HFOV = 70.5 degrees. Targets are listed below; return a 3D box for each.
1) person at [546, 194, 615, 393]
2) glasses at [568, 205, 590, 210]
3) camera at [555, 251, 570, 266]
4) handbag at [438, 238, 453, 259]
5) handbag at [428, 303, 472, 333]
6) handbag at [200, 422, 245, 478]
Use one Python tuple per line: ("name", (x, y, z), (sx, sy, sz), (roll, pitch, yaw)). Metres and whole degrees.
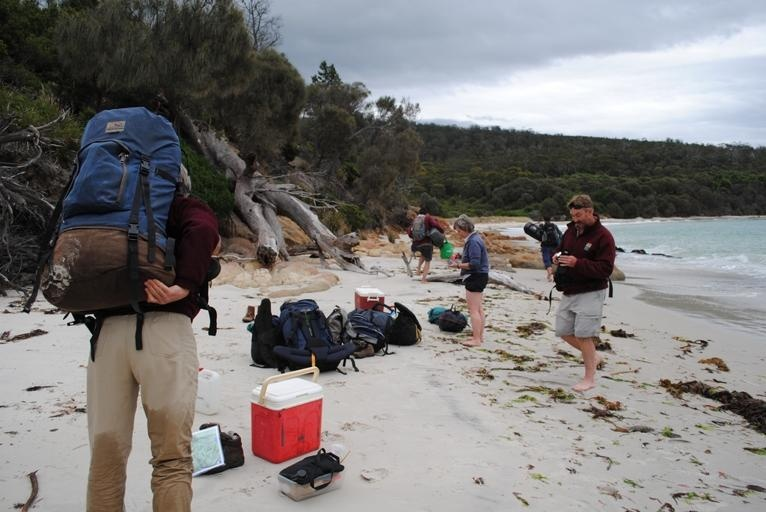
("person", (2.889, 0.491, 7.916), (0.806, 2.704, 0.955), (3, 9, 20))
("glasses", (2.769, -0.672, 7.694), (0.201, 0.054, 0.034), (3, 8, 20))
("camera", (2.534, 0.060, 7.771), (0.171, 0.172, 0.309), (1, 7, 8))
("handbag", (1.595, -0.191, 13.794), (0.341, 0.501, 0.538), (-2, -14, 14))
("handbag", (1.181, 1.172, 10.197), (0.488, 0.225, 0.608), (11, 3, -18))
("handbag", (-1.776, 1.982, 5.627), (0.291, 0.476, 0.743), (-14, -14, 22))
